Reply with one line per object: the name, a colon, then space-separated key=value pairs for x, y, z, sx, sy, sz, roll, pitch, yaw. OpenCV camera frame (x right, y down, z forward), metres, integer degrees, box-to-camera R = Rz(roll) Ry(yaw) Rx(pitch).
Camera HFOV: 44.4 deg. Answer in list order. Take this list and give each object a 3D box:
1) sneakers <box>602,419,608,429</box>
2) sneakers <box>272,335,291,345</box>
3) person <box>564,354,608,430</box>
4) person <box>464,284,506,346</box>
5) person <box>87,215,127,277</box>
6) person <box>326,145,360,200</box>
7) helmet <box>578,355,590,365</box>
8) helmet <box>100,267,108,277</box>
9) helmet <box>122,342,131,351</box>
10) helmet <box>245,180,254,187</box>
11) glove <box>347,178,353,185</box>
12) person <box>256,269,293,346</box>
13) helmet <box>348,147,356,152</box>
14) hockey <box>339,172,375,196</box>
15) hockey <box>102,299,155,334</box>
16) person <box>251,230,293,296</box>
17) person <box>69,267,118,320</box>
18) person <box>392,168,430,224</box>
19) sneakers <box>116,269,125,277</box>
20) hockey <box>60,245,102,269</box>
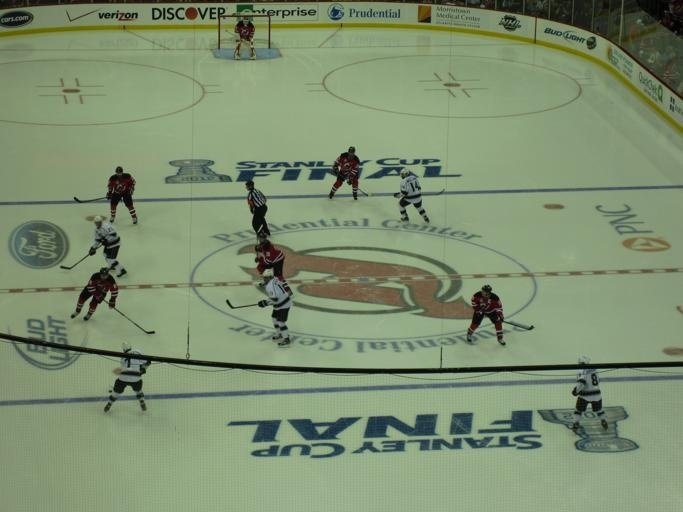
sneakers: x=3.800 y=2.370 z=12.039 sx=0.093 sy=0.037 sz=0.122 roll=-14 pitch=56 yaw=-5
sneakers: x=-1.018 y=1.400 z=14.270 sx=0.372 sy=0.188 sz=0.113 roll=4 pitch=13 yaw=14
person: x=3.609 y=1.977 z=12.069 sx=0.530 sy=0.873 sz=0.590 roll=1 pitch=18 yaw=7
person: x=2.490 y=0.914 z=14.281 sx=0.676 sy=1.071 sz=0.484 roll=1 pitch=19 yaw=7
person: x=-4.673 y=-0.171 z=16.529 sx=0.856 sy=1.282 sz=0.481 roll=-5 pitch=57 yaw=-8
person: x=0.055 y=-1.952 z=19.276 sx=0.702 sy=1.266 sz=1.136 roll=-2 pitch=17 yaw=-1
helmet: x=3.750 y=1.556 z=12.862 sx=0.170 sy=0.156 sz=0.203 roll=10 pitch=27 yaw=16
helmet: x=-4.116 y=0.239 z=14.513 sx=0.131 sy=0.138 sz=0.159 roll=0 pitch=-3 yaw=-13
helmet: x=-3.272 y=1.331 z=12.598 sx=0.153 sy=0.140 sz=0.171 roll=-4 pitch=16 yaw=-18
helmet: x=-1.900 y=-1.503 z=17.324 sx=0.147 sy=0.126 sz=0.168 roll=-7 pitch=9 yaw=-42
glove: x=0.189 y=-1.711 z=19.063 sx=0.131 sy=0.046 sz=0.149 roll=4 pitch=-20 yaw=0
person: x=-1.174 y=0.911 z=14.528 sx=0.743 sy=1.336 sz=0.502 roll=-6 pitch=50 yaw=-6
helmet: x=0.224 y=-2.379 z=18.697 sx=0.150 sy=0.084 sz=0.229 roll=2 pitch=23 yaw=2
hockey: x=0.352 y=-1.745 z=20.194 sx=0.262 sy=0.204 sz=1.628 roll=20 pitch=9 yaw=-24
hockey: x=-3.743 y=1.152 z=14.827 sx=0.418 sy=0.053 sz=1.342 roll=-36 pitch=43 yaw=-25
person: x=-1.333 y=0.143 z=15.815 sx=0.818 sy=1.225 sz=0.542 roll=-12 pitch=50 yaw=-1
person: x=-4.420 y=0.610 z=14.811 sx=0.782 sy=1.001 sz=0.663 roll=-7 pitch=19 yaw=-17
person: x=1.552 y=-1.417 z=18.368 sx=0.776 sy=1.236 sz=1.604 roll=0 pitch=17 yaw=3
sneakers: x=-4.341 y=0.306 z=16.254 sx=0.227 sy=0.130 sz=0.071 roll=-15 pitch=22 yaw=-32
hockey: x=-5.231 y=0.086 z=16.770 sx=1.065 sy=0.421 sz=0.022 roll=-28 pitch=21 yaw=24
